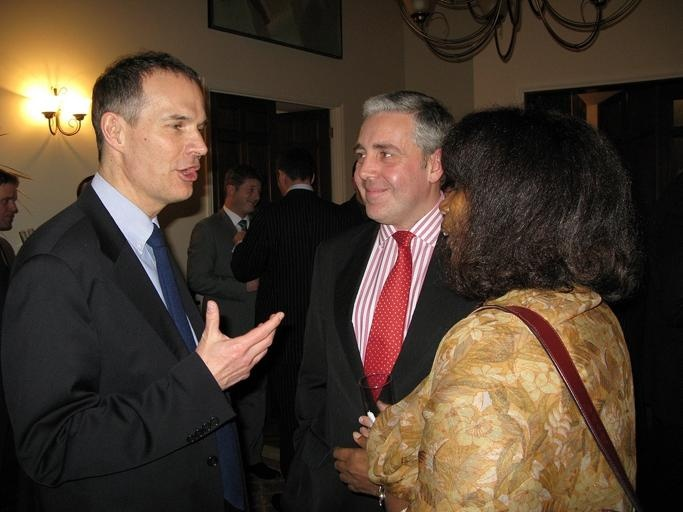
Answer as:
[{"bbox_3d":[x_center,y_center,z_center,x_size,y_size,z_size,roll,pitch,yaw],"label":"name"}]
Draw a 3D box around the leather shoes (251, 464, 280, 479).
[{"bbox_3d":[-0.525,1.474,4.053,0.160,0.067,0.085,3,10,29],"label":"leather shoes"}]
